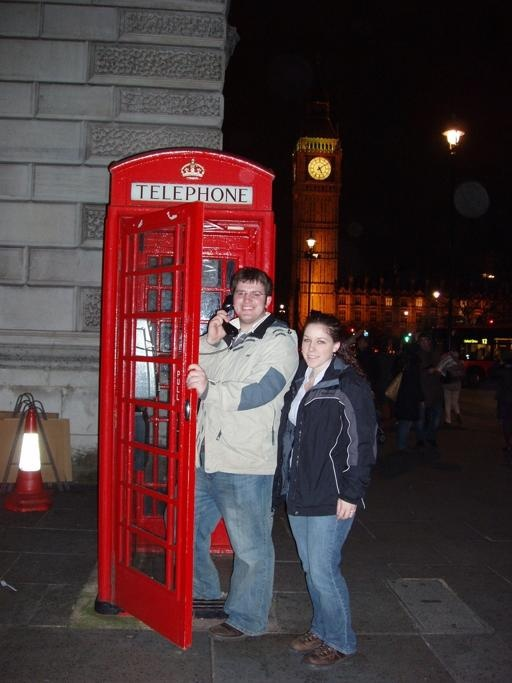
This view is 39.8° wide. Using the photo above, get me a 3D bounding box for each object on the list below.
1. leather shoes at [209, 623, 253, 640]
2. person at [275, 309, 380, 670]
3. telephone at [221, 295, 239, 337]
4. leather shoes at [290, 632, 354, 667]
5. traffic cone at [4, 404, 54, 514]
[{"bbox_3d":[-0.133,1.574,3.843,0.205,0.077,0.078,20,-14,1],"label":"leather shoes"},{"bbox_3d":[0.348,0.751,3.696,0.544,1.796,0.416,4,3,17],"label":"person"},{"bbox_3d":[-0.165,-0.166,4.109,0.084,0.302,0.091,-10,-29,20],"label":"telephone"},{"bbox_3d":[0.324,1.601,3.650,0.182,0.061,0.133,15,-1,-15],"label":"leather shoes"},{"bbox_3d":[-1.977,1.026,6.125,0.374,0.799,0.538,2,3,-32],"label":"traffic cone"}]
